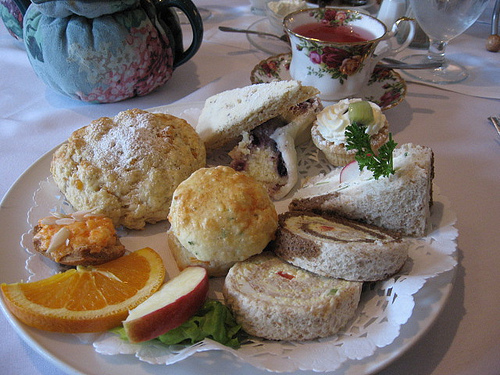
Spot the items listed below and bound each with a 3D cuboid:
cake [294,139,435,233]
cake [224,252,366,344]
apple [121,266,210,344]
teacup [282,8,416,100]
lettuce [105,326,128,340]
[{"bbox_3d":[0.493,0.013,1.939,0.579,0.272,0.370,-3,38,16],"label":"cake"},{"bbox_3d":[0.161,0.419,1.769,0.536,0.140,0.547,-5,15,-14],"label":"cake"},{"bbox_3d":[-0.317,0.415,1.561,0.190,0.080,0.399,22,36,31],"label":"apple"},{"bbox_3d":[0.552,-0.745,2.447,0.597,0.376,0.578,-21,42,-25],"label":"teacup"},{"bbox_3d":[-0.470,0.514,1.527,0.047,0.013,0.047,-11,45,-24],"label":"lettuce"}]
